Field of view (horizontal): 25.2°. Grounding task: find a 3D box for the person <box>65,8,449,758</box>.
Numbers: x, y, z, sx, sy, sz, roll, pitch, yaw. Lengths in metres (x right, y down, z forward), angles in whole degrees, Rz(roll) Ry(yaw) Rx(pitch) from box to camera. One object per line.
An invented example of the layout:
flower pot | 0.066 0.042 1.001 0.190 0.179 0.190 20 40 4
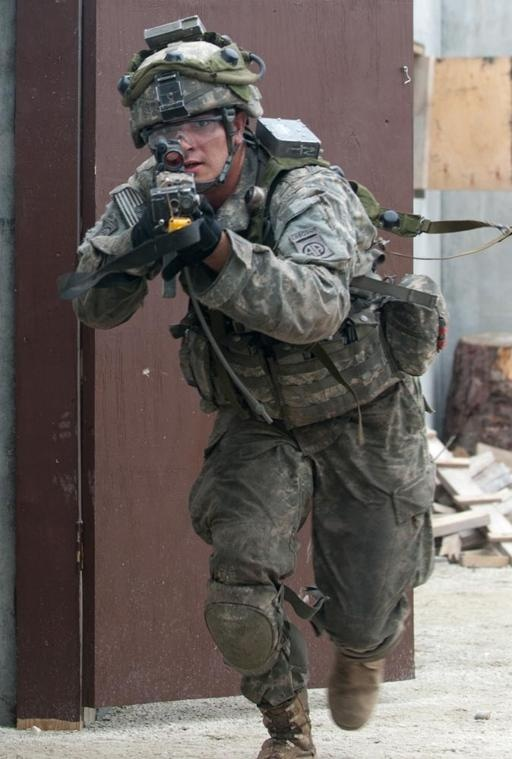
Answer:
person | 0.024 0.062 3.142 0.934 2.109 1.137 -1 2 25

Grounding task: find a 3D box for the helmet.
helmet | -0.173 -0.780 3.087 0.311 0.172 0.310 -13 -5 3

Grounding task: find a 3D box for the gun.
gun | -0.191 -0.422 2.694 0.113 0.319 0.293 -2 2 -4

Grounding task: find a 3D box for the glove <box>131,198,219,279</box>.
glove | -0.175 -0.318 2.721 0.224 0.153 0.103 -31 -6 27

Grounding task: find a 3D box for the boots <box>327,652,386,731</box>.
boots | 0.314 0.954 3.548 0.118 0.288 0.128 9 5 13
